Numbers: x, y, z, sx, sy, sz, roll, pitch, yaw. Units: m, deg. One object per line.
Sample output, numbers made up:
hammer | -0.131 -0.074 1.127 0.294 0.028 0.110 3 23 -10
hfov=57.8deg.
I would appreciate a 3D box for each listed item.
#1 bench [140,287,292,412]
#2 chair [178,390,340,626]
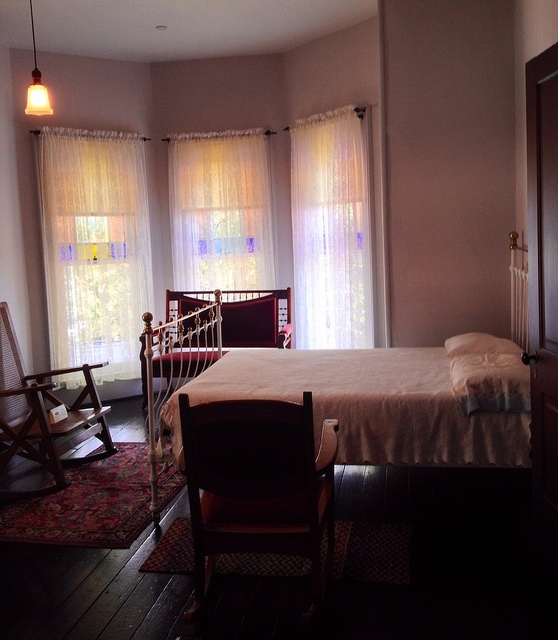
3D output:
bench | -0.482 0.195 3.940 0.873 1.068 0.431 0 1 4
chair | -0.058 0.585 1.717 0.498 0.782 0.548 -2 2 9
